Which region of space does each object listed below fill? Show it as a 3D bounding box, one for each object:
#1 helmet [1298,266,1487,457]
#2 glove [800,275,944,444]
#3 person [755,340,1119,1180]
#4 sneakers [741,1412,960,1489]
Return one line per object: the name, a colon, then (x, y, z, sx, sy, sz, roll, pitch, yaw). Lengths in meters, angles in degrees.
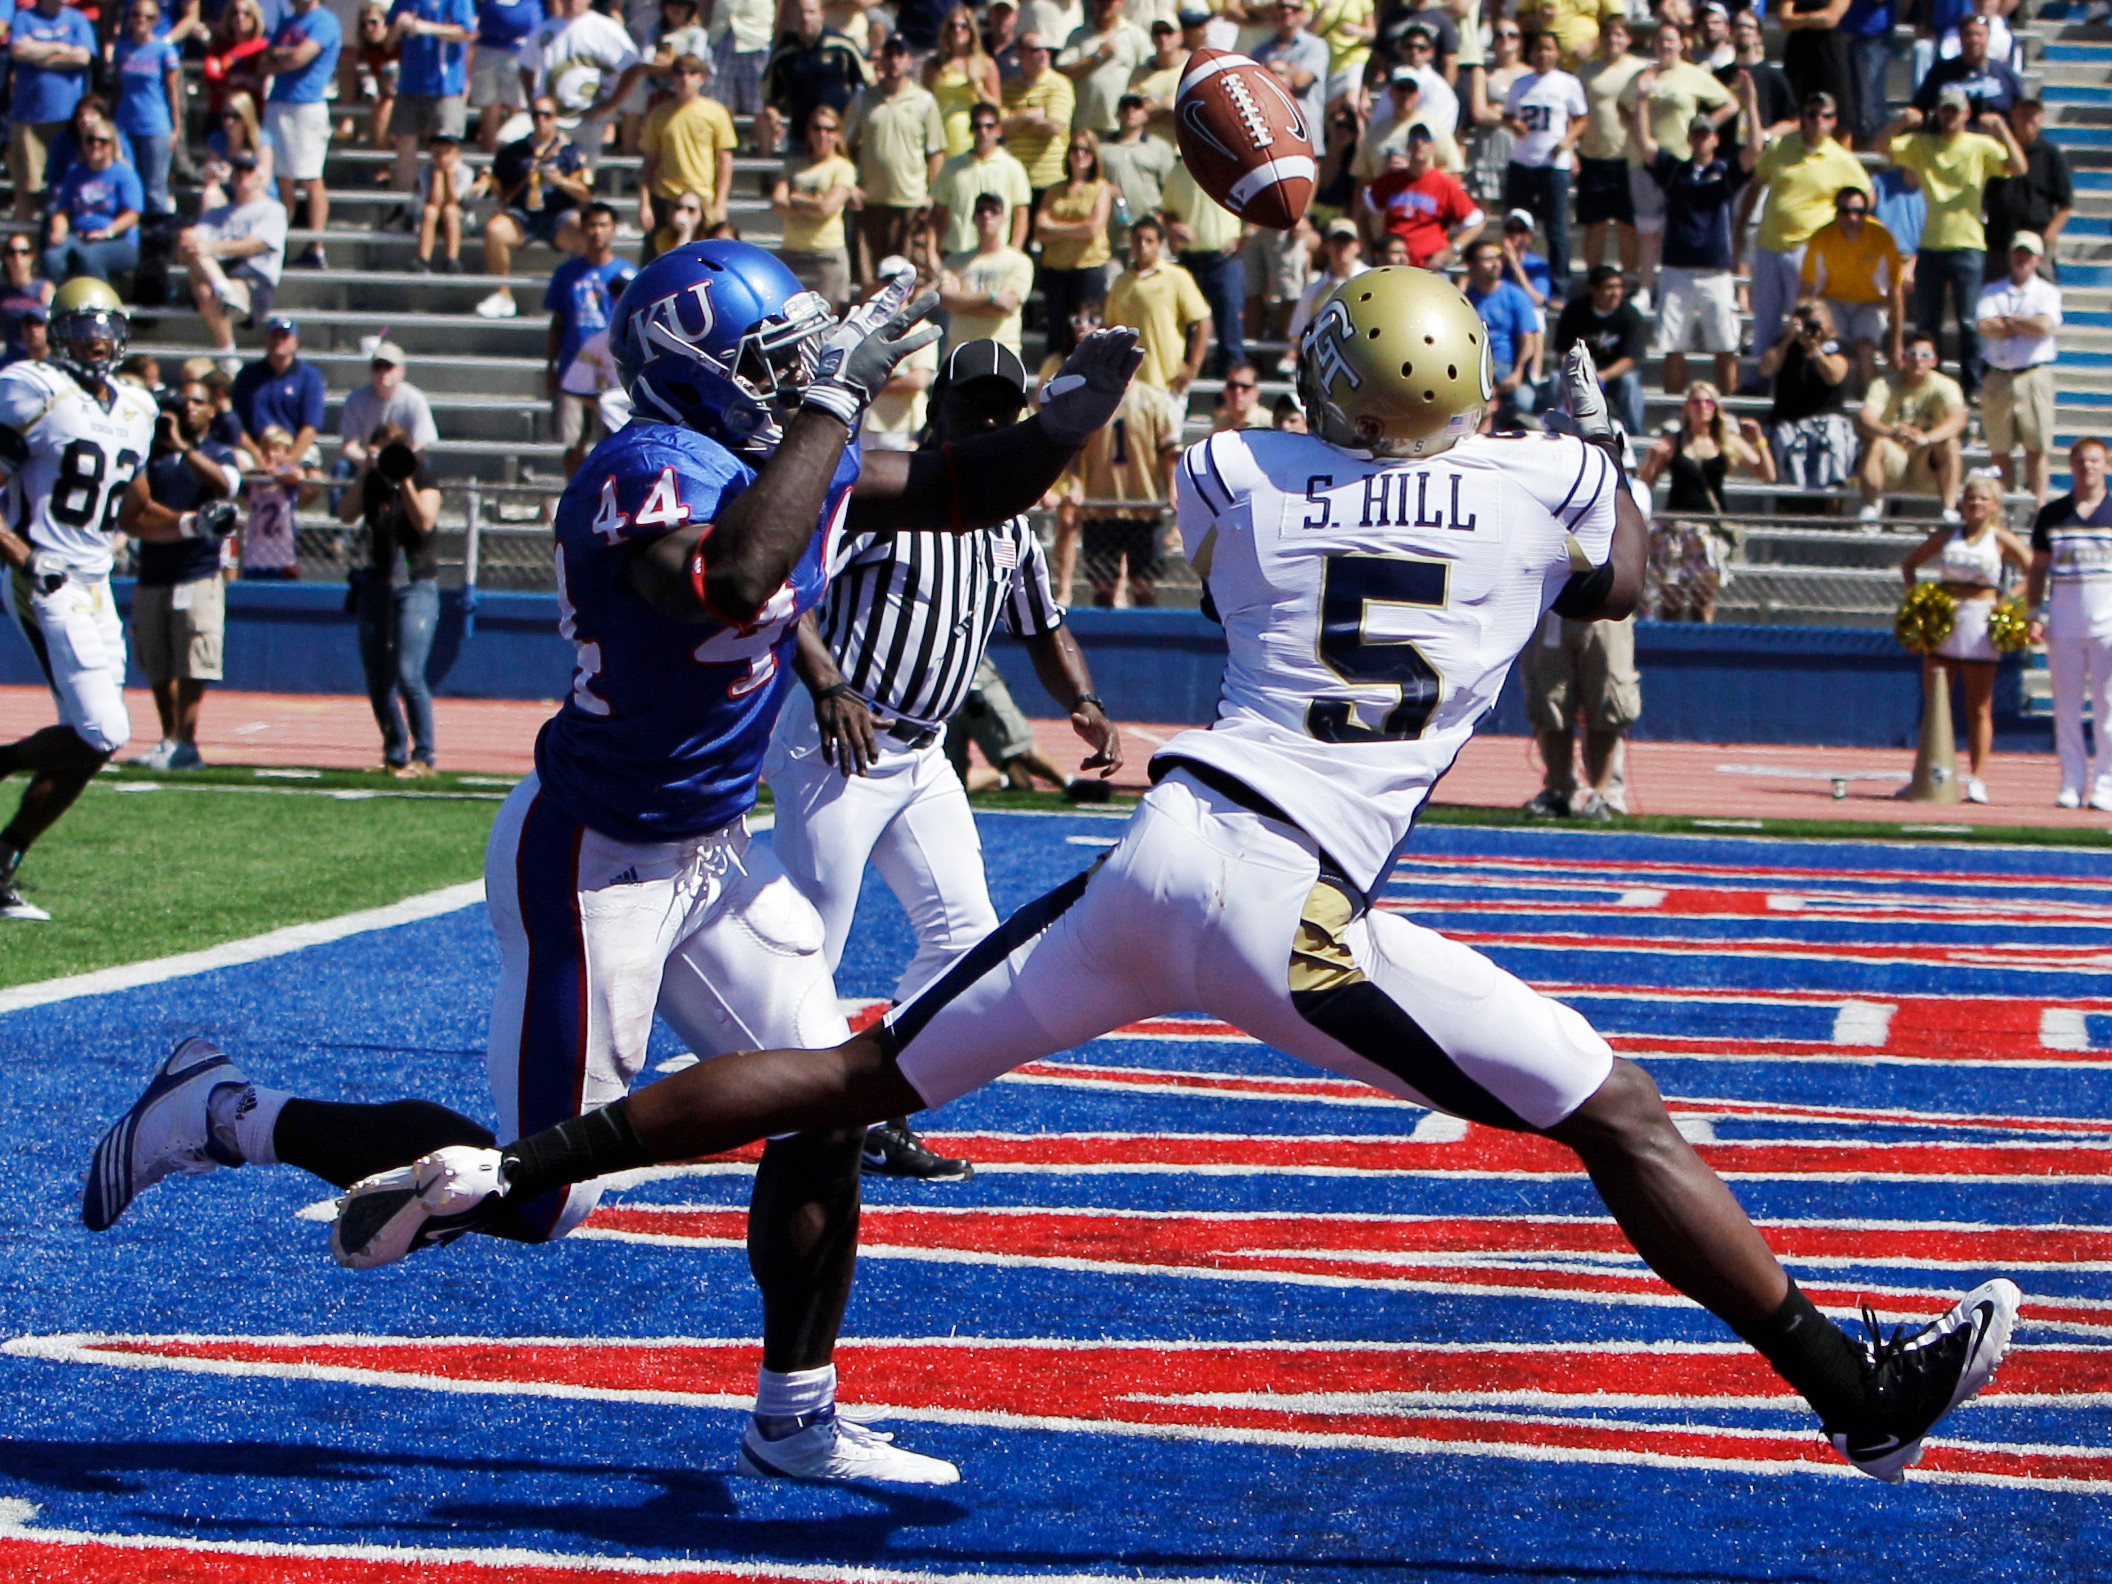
helmet: (0.891, -1.173, 10.837, 0.463, 0.536, 0.496, 1, 8, 0)
glove: (-0.506, -1.196, 10.801, 0.360, 0.459, 0.295, -2, 15, -5)
person: (-0.361, -0.121, 13.046, 1.360, 2.658, 0.895, 4, 10, 3)
sneakers: (-0.582, 1.831, 11.002, 0.682, 0.259, 0.220, 1, 4, -3)
